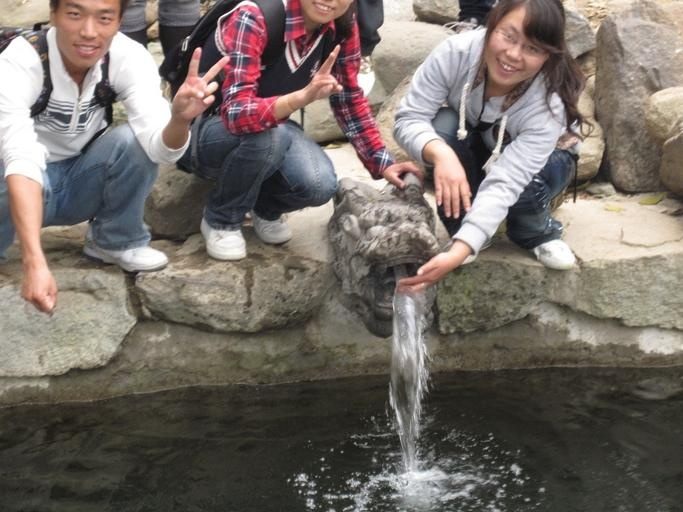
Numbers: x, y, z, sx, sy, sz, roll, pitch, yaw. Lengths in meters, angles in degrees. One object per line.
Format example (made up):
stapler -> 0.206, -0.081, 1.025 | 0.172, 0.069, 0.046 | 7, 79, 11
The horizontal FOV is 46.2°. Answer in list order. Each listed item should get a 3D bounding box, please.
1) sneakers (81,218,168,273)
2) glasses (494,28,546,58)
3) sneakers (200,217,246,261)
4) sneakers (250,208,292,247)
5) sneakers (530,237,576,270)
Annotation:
sneakers -> -1.110, -0.044, 4.293 | 0.529, 0.222, 0.185 | 8, 29, 4
glasses -> 0.867, -1.046, 3.934 | 0.131, 0.061, 0.172 | 22, 10, -32
sneakers -> -0.653, -0.086, 4.346 | 0.127, 0.121, 0.322 | -9, 21, -31
sneakers -> -0.435, -0.164, 4.568 | 0.118, 0.128, 0.320 | 0, 22, -40
sneakers -> 1.178, -0.007, 4.510 | 0.142, 0.084, 0.224 | -13, 26, -24
